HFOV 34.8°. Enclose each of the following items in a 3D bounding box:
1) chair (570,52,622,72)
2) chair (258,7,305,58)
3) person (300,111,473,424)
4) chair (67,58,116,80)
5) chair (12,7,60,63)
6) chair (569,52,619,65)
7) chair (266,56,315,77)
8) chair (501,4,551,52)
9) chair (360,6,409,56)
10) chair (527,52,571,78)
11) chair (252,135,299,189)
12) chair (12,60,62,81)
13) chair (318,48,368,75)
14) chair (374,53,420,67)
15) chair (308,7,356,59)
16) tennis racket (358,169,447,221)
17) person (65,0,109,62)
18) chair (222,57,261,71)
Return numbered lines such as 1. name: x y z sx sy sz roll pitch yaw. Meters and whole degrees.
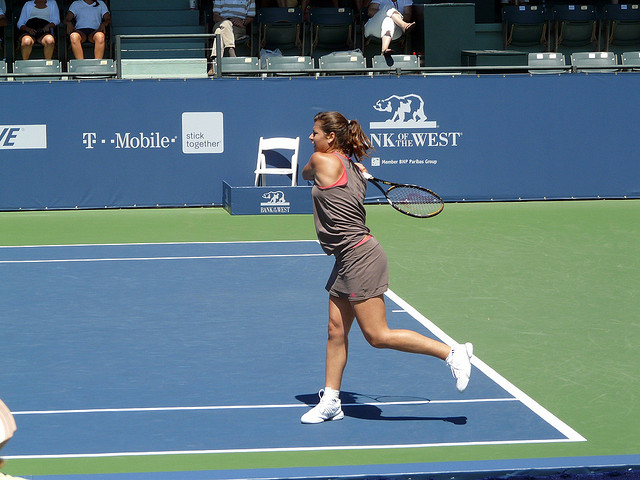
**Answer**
1. chair: 5.176 -3.322 19.214 0.862 0.430 1.916 0 7 14
2. chair: -0.781 -4.106 20.380 0.953 0.951 0.721 -3 8 -4
3. person: 0.394 0.225 8.613 1.223 2.579 0.484 -3 8 -2
4. chair: -4.038 -2.998 17.988 0.830 0.396 1.445 -3 7 -12
5. chair: -5.696 -4.104 20.412 0.934 1.122 1.452 -4 8 -14
6. chair: 5.239 -3.450 19.620 0.995 0.227 0.233 -4 8 -17
7. chair: -0.541 -3.113 18.444 0.884 0.387 1.168 -2 7 -1
8. chair: 4.236 -4.322 20.969 0.962 0.843 0.619 -1 8 6
9. chair: 1.274 -4.207 20.451 0.953 0.977 1.146 -1 8 4
10. chair: 4.157 -3.151 18.478 0.724 0.530 2.517 0 7 12
11. chair: -0.746 -1.294 17.070 1.007 1.056 0.829 2 12 6
12. chair: -4.921 -2.924 17.773 0.746 0.385 0.432 -1 3 -9
13. chair: 0.432 -3.261 18.858 0.834 0.253 0.558 0 31 -1
14. chair: 1.409 -3.262 18.761 0.686 0.354 0.472 0 3 -2
15. chair: 0.345 -4.148 20.803 1.344 1.060 1.041 -2 15 -4
16. tennis racket: 1.140 -0.608 13.464 0.560 0.088 1.917 -27 33 -29
17. person: -4.446 -3.999 19.534 0.831 1.129 1.004 -4 8 -11
18. chair: -1.429 -3.182 18.529 0.937 0.223 0.504 -5 8 -26
